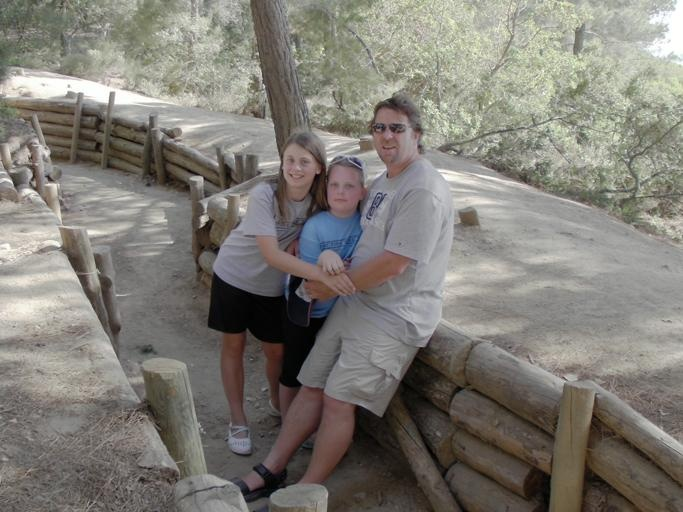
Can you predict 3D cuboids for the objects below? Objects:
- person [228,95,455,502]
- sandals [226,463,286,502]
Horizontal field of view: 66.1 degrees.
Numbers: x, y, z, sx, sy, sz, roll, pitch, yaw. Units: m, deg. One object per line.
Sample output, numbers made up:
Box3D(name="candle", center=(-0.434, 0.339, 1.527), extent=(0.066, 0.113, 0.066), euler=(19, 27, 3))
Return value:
Box3D(name="person", center=(0.146, 0.370, 3.518), extent=(0.691, 2.793, 1.074), euler=(22, 24, 40))
Box3D(name="sandals", center=(-0.543, 1.594, 3.720), extent=(0.490, 0.191, 0.192), euler=(-7, 14, -34))
